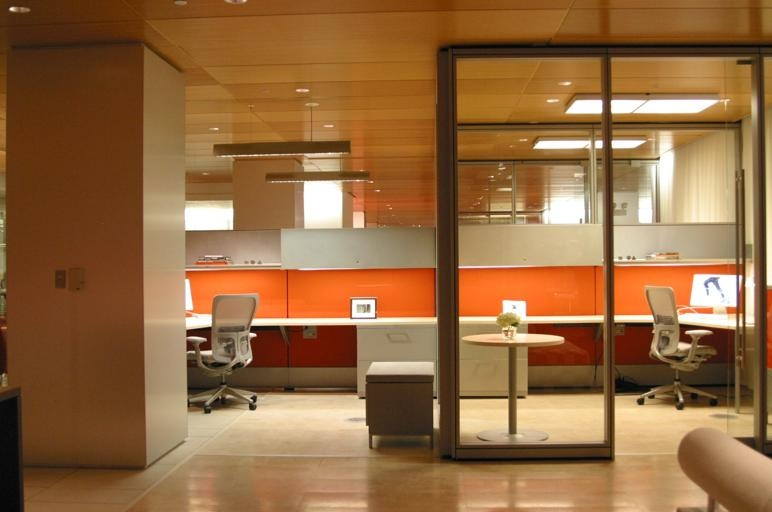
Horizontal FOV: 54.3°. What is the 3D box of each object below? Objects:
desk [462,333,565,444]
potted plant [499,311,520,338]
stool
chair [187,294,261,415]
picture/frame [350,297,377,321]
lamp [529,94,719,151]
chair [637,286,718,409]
[{"bbox_3d":[1.275,1.355,7.686,1.161,0.991,1.106,-2,-4,-29],"label":"desk"},{"bbox_3d":[1.256,0.713,7.756,0.246,0.230,0.242,-1,-1,-9],"label":"potted plant"},{"bbox_3d":[0.136,1.425,8.202,0.704,0.766,1.233,-1,-4,1],"label":"stool"},{"bbox_3d":[-2.069,1.191,9.414,0.957,1.363,0.961,1,-2,16],"label":"chair"},{"bbox_3d":[-0.317,0.714,10.057,0.309,0.238,0.116,0,-7,2],"label":"picture/frame"},{"bbox_3d":[2.692,-1.430,8.246,1.925,0.601,1.309,-9,13,-37],"label":"lamp"},{"bbox_3d":[3.499,1.069,9.011,0.838,1.352,0.650,3,12,19],"label":"chair"}]
